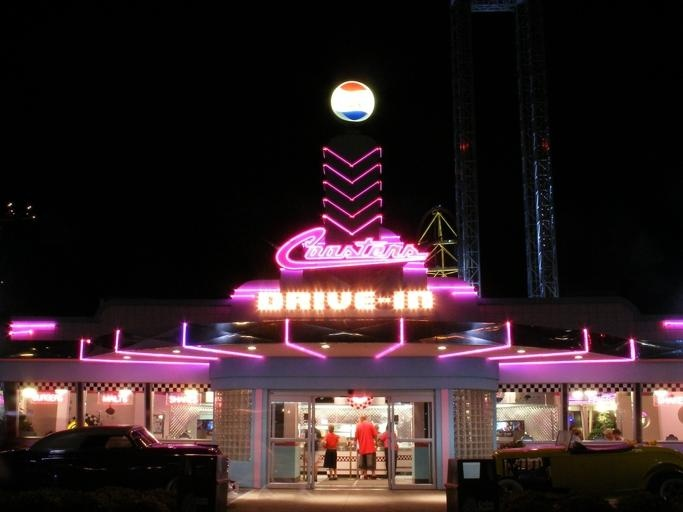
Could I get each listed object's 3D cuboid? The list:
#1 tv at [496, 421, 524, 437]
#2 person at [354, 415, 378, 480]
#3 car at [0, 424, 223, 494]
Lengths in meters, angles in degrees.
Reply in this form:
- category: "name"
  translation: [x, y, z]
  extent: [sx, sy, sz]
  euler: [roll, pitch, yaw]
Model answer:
- category: "tv"
  translation: [5.577, 5.675, 26.250]
  extent: [0.706, 0.416, 0.091]
  euler: [-1, -9, 13]
- category: "person"
  translation: [0.750, 5.910, 24.841]
  extent: [0.612, 1.895, 0.854]
  euler: [0, -15, 1]
- category: "car"
  translation: [-5.475, 4.569, 17.916]
  extent: [3.485, 0.994, 2.163]
  euler: [-1, -11, -2]
